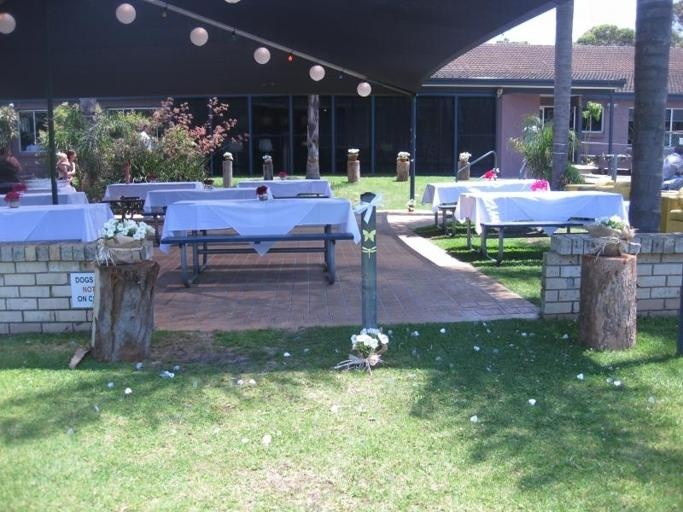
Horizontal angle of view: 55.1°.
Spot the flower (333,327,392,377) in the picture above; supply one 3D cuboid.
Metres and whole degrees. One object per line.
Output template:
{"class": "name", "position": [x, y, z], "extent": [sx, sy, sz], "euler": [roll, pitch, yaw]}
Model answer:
{"class": "flower", "position": [0.201, 0.859, 6.348], "extent": [0.480, 0.300, 0.611], "euler": [2, 15, 9]}
